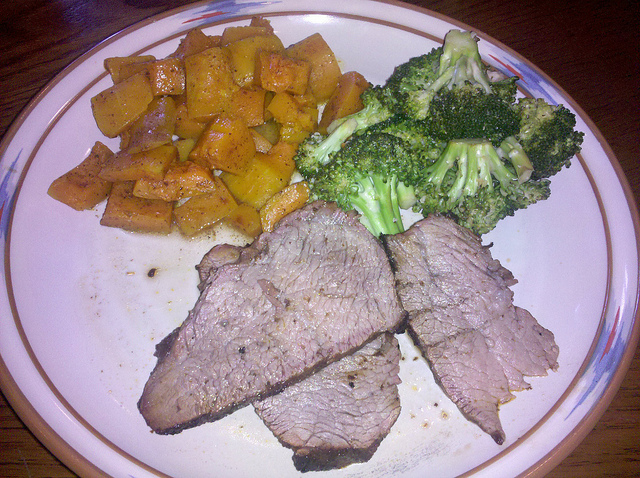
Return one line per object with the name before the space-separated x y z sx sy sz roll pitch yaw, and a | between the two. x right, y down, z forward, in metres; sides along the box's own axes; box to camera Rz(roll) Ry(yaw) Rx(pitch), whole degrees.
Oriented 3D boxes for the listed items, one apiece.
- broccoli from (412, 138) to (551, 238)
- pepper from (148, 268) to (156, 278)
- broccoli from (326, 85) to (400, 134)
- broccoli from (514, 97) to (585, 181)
broccoli | 0.917 -0.302 3.751 0.558 0.235 0.626 -13 109 6
pepper | -1.009 0.203 3.929 0.029 0.015 0.051 19 82 -3
broccoli | 0.306 -0.770 3.941 0.333 0.149 0.248 -25 87 5
broccoli | 1.338 -0.586 3.793 0.430 0.185 0.429 43 81 -4
